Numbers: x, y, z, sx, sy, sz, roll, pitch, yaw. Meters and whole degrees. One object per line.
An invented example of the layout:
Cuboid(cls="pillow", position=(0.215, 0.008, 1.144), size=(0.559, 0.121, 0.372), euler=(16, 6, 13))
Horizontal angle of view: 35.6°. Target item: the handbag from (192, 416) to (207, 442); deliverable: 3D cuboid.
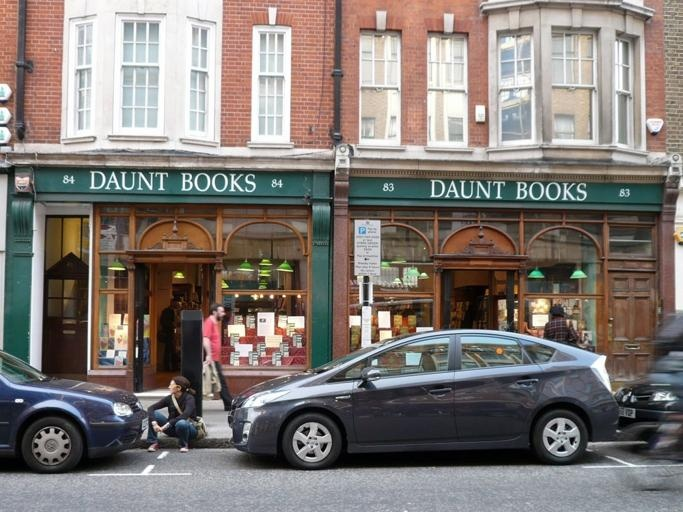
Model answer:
Cuboid(cls="handbag", position=(-2.486, 3.039, 18.822), size=(0.161, 0.338, 0.266), euler=(2, -2, 5))

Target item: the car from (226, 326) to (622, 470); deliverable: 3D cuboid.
Cuboid(cls="car", position=(1.352, 2.502, 18.462), size=(5.960, 1.796, 2.543), euler=(1, -9, 0))

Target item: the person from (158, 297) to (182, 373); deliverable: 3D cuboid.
Cuboid(cls="person", position=(-4.079, 1.861, 25.420), size=(0.368, 1.778, 0.871), euler=(-4, -6, 30))

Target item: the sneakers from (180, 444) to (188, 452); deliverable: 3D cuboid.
Cuboid(cls="sneakers", position=(-2.745, 3.354, 18.598), size=(0.151, 0.105, 0.126), euler=(0, -4, -8))
